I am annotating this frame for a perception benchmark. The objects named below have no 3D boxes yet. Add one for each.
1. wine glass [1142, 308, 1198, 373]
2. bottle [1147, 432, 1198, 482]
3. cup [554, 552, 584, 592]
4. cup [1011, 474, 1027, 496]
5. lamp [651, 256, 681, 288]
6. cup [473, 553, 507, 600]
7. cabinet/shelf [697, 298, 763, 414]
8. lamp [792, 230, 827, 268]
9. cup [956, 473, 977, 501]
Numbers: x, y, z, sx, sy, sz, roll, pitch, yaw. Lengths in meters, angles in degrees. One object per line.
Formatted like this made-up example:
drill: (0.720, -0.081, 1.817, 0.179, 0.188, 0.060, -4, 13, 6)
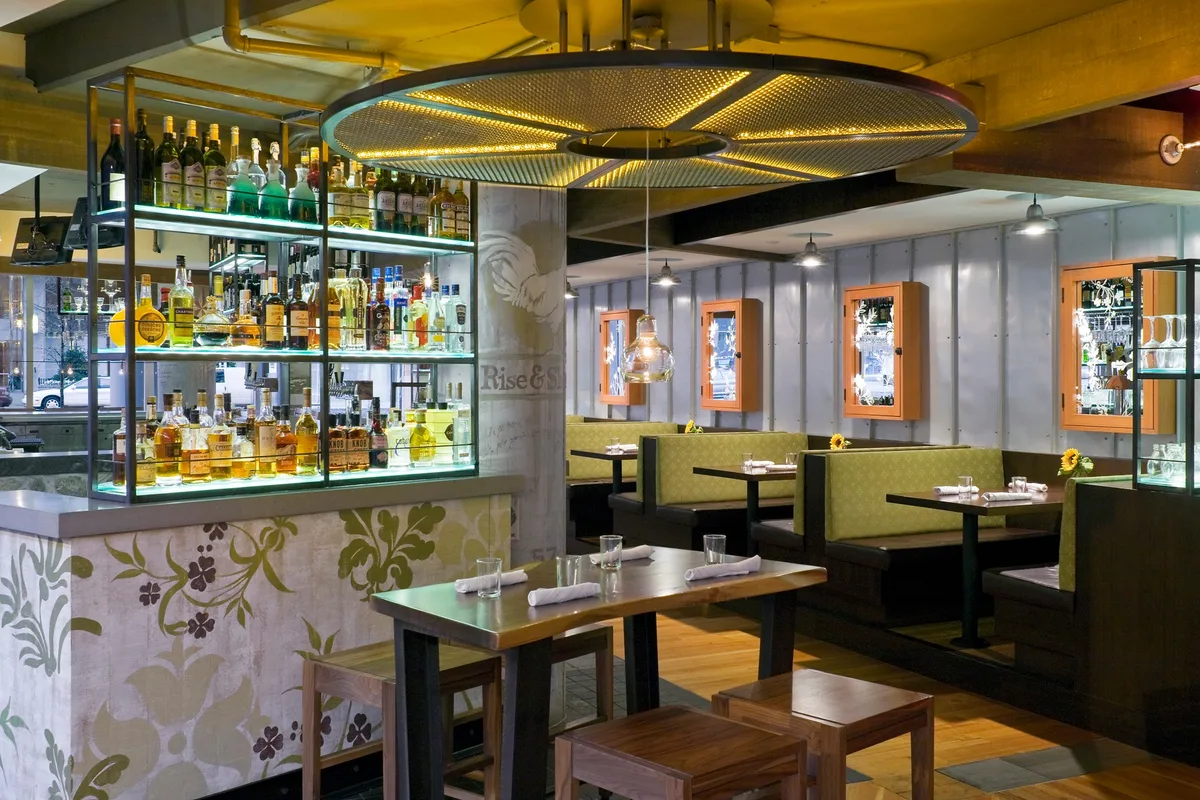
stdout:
wine glass: (3.254, -0.357, 5.601, 0.356, 0.323, 0.336, 1, -2, 10)
bottle: (3.245, 0.346, 5.562, 0.051, 0.288, 0.245, 1, 10, -28)
cup: (-0.147, 0.784, 4.295, 0.129, 0.134, 0.119, 2, 2, 0)
cup: (3.101, 0.639, 7.166, 0.097, 0.092, 0.054, 4, 12, 9)
lamp: (0.790, -1.483, 10.941, 0.410, 0.385, 0.384, 0, 2, -23)
cup: (-0.515, 0.775, 4.228, 0.164, 0.191, 0.154, 0, 4, 0)
cabinet/shelf: (1.608, -0.530, 11.835, 0.278, 1.482, 1.010, 0, 11, -33)
lamp: (2.023, -1.513, 9.594, 0.406, 0.392, 0.398, 1, 1, 27)
cup: (2.662, 0.644, 7.059, 0.153, 0.241, 0.141, 3, 3, 0)
